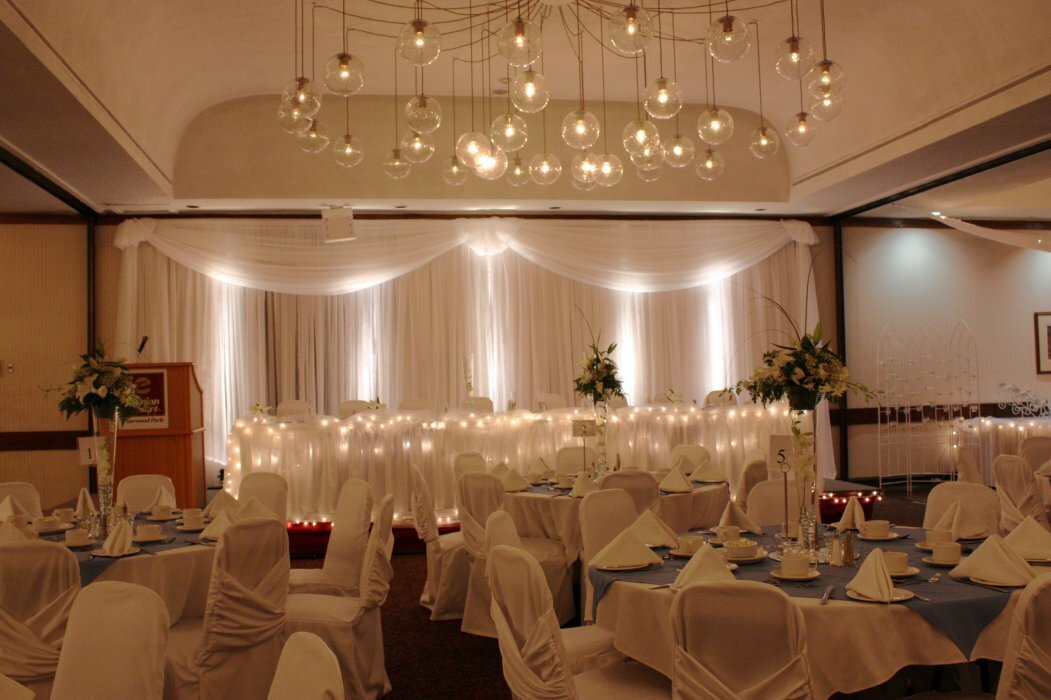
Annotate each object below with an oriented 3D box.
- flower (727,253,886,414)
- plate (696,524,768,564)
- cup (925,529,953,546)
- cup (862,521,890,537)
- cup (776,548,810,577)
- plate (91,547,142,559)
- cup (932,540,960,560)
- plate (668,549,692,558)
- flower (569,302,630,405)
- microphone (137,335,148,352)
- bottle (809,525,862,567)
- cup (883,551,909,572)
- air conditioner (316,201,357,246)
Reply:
[{"bbox_3d":[2.012,0.058,6.007,0.711,0.749,0.751,-4,-2,45],"label":"flower"},{"bbox_3d":[1.472,1.340,5.795,0.404,0.218,0.567,-1,-6,9],"label":"plate"},{"bbox_3d":[2.795,1.253,5.613,0.131,0.113,0.143,0,-6,0],"label":"cup"},{"bbox_3d":[2.498,1.288,5.946,0.157,0.093,0.119,-10,-9,27],"label":"cup"},{"bbox_3d":[1.695,1.346,5.273,0.185,0.150,0.150,-3,-8,20],"label":"cup"},{"bbox_3d":[-2.930,1.444,5.933,0.383,0.063,0.175,0,-6,2],"label":"plate"},{"bbox_3d":[2.741,1.297,5.408,0.113,0.080,0.120,2,-7,0],"label":"cup"},{"bbox_3d":[1.047,1.396,5.677,0.168,0.057,0.100,-5,-7,38],"label":"plate"},{"bbox_3d":[0.772,0.101,8.704,0.438,0.820,0.511,-9,-30,37],"label":"flower"},{"bbox_3d":[-5.507,-0.099,11.938,0.155,0.261,0.111,-2,-5,24],"label":"microphone"},{"bbox_3d":[2.084,1.313,5.660,0.234,0.147,0.349,-3,-7,6],"label":"bottle"},{"bbox_3d":[2.336,1.333,5.253,0.099,0.110,0.144,-1,-6,-11],"label":"cup"},{"bbox_3d":[-2.714,-1.803,12.065,0.688,0.801,0.398,0,-3,-10],"label":"air conditioner"}]
